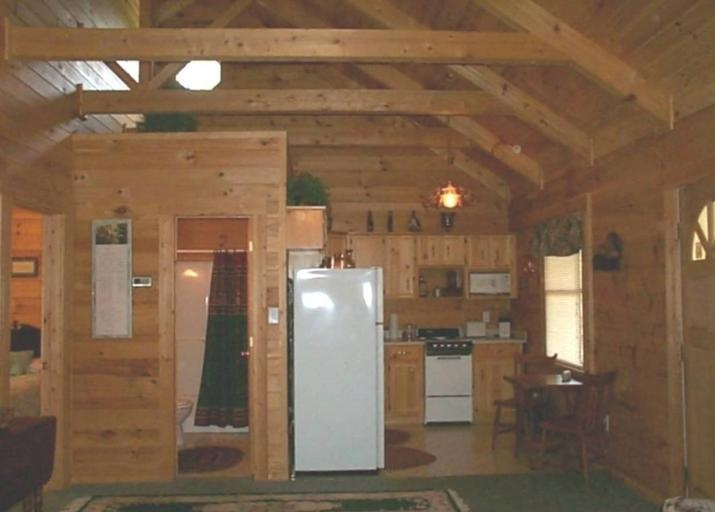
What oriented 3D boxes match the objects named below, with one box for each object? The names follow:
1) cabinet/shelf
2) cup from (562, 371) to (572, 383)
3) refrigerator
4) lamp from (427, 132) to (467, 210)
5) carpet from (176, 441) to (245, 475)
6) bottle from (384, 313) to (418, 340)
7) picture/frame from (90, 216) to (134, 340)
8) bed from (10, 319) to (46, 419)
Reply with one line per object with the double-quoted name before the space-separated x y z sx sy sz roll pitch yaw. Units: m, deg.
"cabinet/shelf" 0.615 0.836 10.453 2.880 2.727 0.982 0 0 -6
"cup" 2.349 1.348 9.396 0.122 0.128 0.121 1 -1 0
"refrigerator" -0.211 1.247 9.127 0.958 2.155 0.517 -1 11 -3
"lamp" 1.202 -1.089 11.215 0.425 1.130 1.183 1 12 6
"carpet" -1.660 2.297 9.583 0.751 0.044 0.834 -2 12 -9
"bottle" 0.590 0.942 11.424 0.367 0.365 0.359 0 0 4
"picture/frame" -2.692 0.252 9.247 0.429 1.253 0.314 -1 11 -5
"bed" -4.001 1.371 10.206 0.361 0.663 1.973 -5 13 -21
